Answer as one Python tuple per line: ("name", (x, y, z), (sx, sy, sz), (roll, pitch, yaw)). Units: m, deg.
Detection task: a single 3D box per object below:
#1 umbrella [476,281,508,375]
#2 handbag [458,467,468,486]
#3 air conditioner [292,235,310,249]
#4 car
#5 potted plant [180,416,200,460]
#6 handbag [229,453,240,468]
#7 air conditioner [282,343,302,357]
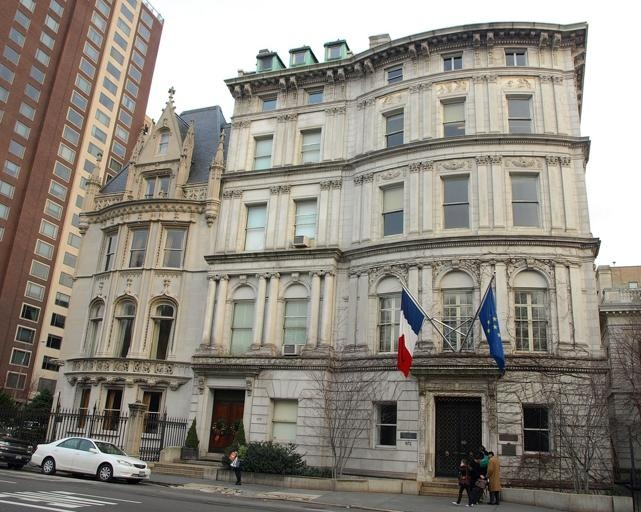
("umbrella", (8.639, 3.405, 28.936), (0.835, 4.269, 1.905), (-12, -24, 33))
("handbag", (6.231, 9.480, 25.014), (0.399, 0.784, 0.307), (-4, -20, 16))
("air conditioner", (-1.188, -0.923, 36.105), (0.752, 0.617, 0.807), (0, -8, 5))
("car", (-10.518, 9.137, 26.085), (5.340, 1.818, 0.800), (-3, -20, 11))
("potted plant", (-7.624, 10.722, 33.965), (0.981, 2.320, 0.801), (6, -20, -11))
("handbag", (-4.226, 9.991, 28.449), (0.490, 0.703, 0.927), (4, -20, -7))
("air conditioner", (-1.687, 5.589, 34.507), (1.156, 0.754, 0.511), (3, -20, -2))
